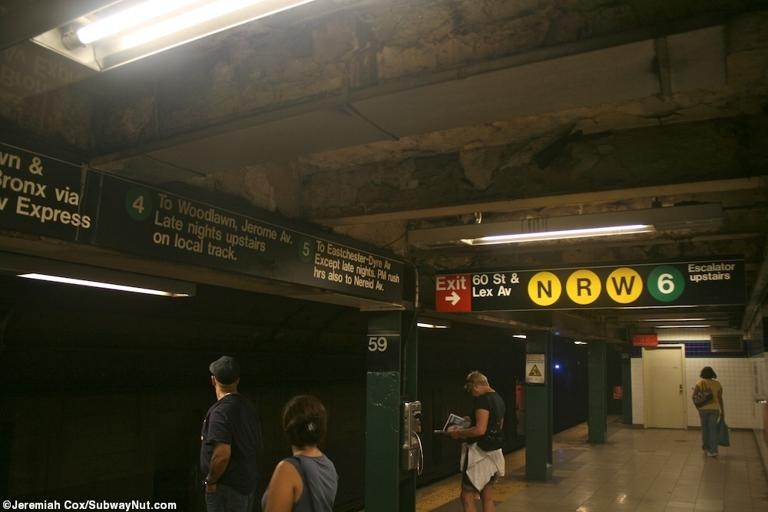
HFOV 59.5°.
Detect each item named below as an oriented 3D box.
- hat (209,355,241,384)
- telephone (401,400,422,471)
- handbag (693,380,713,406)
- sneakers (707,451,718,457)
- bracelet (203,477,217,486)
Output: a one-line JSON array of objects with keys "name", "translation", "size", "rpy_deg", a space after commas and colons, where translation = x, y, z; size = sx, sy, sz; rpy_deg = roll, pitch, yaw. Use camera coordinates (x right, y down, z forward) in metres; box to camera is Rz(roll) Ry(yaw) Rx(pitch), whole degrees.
[{"name": "hat", "translation": [-1.411, 0.980, 5.919], "size": [0.189, 0.157, 0.265], "rpy_deg": [-1, 18, -27]}, {"name": "telephone", "translation": [0.326, 2.044, 7.614], "size": [0.206, 0.765, 0.400], "rpy_deg": [-9, -17, 25]}, {"name": "handbag", "translation": [6.456, 2.814, 13.618], "size": [0.177, 0.504, 0.409], "rpy_deg": [8, -18, -33]}, {"name": "sneakers", "translation": [6.775, 4.115, 13.927], "size": [0.271, 0.103, 0.173], "rpy_deg": [-2, -5, 21]}, {"name": "bracelet", "translation": [-1.434, 1.869, 5.533], "size": [0.082, 0.022, 0.080], "rpy_deg": [8, -6, -1]}]
